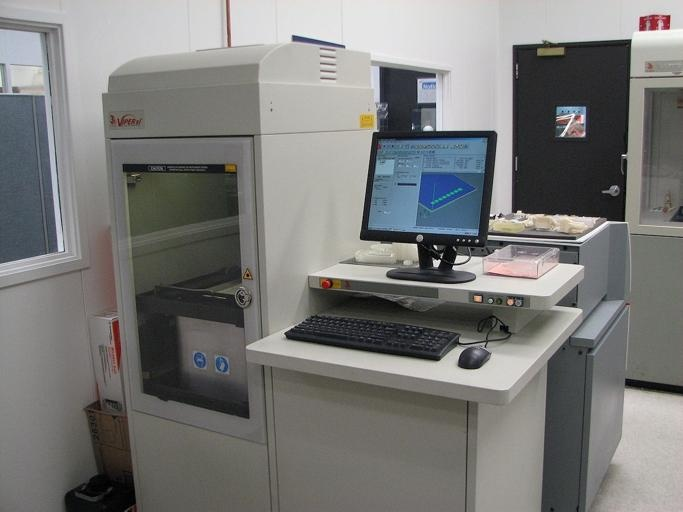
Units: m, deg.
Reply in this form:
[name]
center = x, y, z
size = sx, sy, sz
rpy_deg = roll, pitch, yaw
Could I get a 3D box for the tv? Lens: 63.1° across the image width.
[tv]
center = 0.333, -0.189, 2.155
size = 0.560, 0.651, 0.302
rpy_deg = 3, 4, 29
